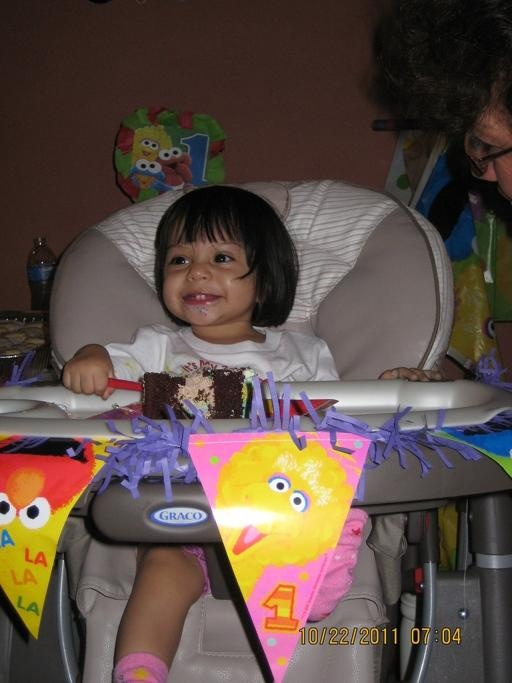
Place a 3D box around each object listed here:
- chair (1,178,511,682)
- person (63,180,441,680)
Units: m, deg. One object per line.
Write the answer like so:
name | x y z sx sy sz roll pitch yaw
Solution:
chair | 0.022 0.039 1.056 0.672 0.708 0.789 0 -2 4
person | -0.084 0.036 0.880 0.571 0.487 0.748 3 15 2
